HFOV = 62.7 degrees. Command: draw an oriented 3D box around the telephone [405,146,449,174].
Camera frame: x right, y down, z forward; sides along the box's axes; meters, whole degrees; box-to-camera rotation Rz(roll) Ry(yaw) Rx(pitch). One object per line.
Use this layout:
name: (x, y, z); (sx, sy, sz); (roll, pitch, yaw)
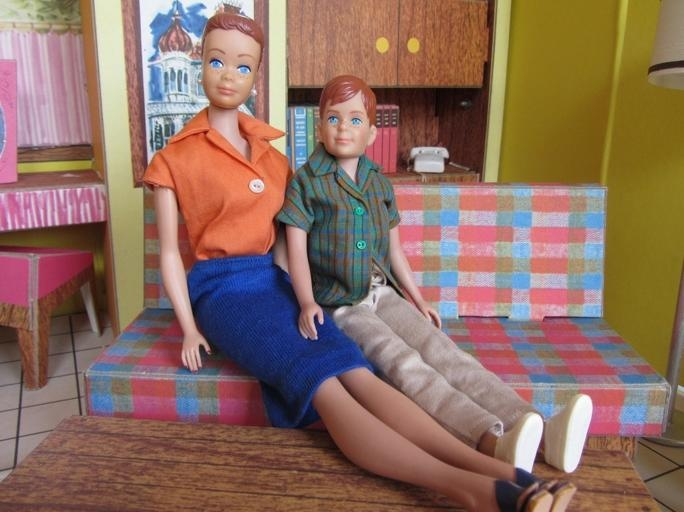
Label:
telephone: (0.586, -0.588, 3.730); (0.267, 0.200, 0.195); (0, 5, 1)

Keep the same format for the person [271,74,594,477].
person: (0.213, 0.010, 1.735); (0.594, 0.948, 1.348); (-8, 23, -22)
